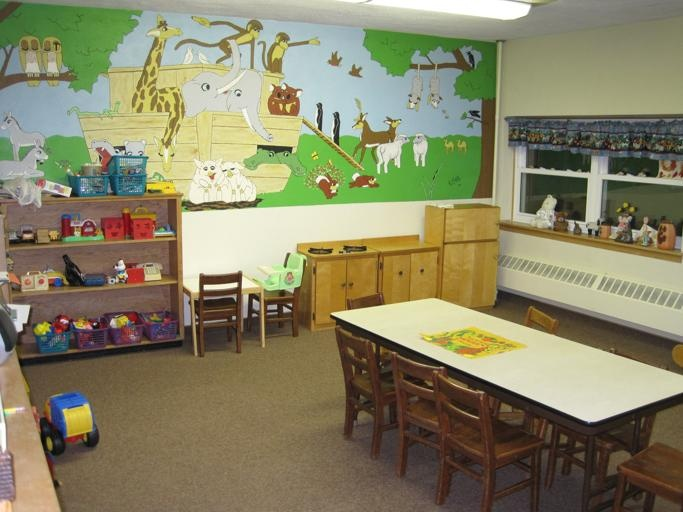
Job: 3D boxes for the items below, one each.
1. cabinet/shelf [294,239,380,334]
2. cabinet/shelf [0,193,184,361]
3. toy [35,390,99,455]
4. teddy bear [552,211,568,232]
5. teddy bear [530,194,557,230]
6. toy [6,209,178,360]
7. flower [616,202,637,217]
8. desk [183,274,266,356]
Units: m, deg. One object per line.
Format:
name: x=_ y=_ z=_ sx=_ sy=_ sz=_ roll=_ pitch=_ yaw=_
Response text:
cabinet/shelf: x=-0.066 y=0.378 z=5.857 sx=1.016 sy=1.030 sz=0.534 roll=-5 pitch=12 yaw=-25
cabinet/shelf: x=-2.597 y=0.213 z=5.336 sx=1.717 sy=1.551 sz=0.446 roll=-4 pitch=8 yaw=-28
toy: x=-2.023 y=1.222 z=3.920 sx=0.424 sy=0.411 sz=0.443 roll=-4 pitch=10 yaw=-37
teddy bear: x=2.938 y=-0.463 z=6.981 sx=0.237 sy=0.264 sz=0.239 roll=-12 pitch=17 yaw=-39
teddy bear: x=2.849 y=-0.611 z=7.155 sx=0.275 sy=0.458 sz=0.331 roll=0 pitch=12 yaw=-14
toy: x=-2.629 y=0.298 z=5.389 sx=1.566 sy=1.321 sz=0.413 roll=-3 pitch=6 yaw=-26
flower: x=3.518 y=-0.558 z=6.414 sx=0.177 sy=0.172 sz=0.064 roll=-3 pitch=-16 yaw=29
desk: x=-1.302 y=0.633 z=5.874 sx=0.888 sy=0.723 sz=0.840 roll=-1 pitch=5 yaw=-23
